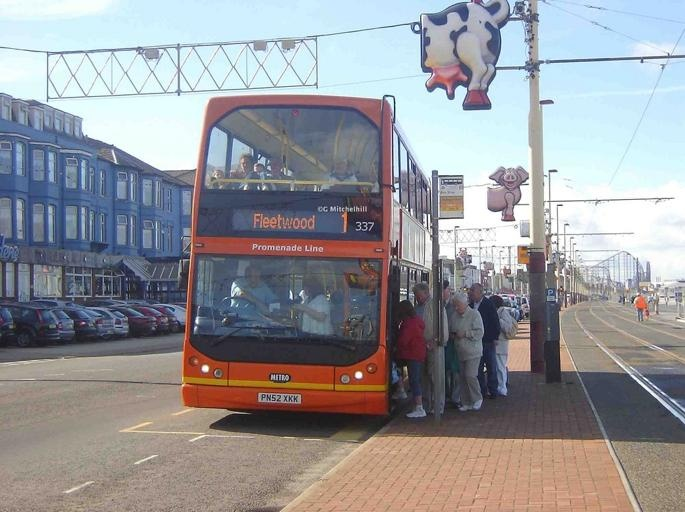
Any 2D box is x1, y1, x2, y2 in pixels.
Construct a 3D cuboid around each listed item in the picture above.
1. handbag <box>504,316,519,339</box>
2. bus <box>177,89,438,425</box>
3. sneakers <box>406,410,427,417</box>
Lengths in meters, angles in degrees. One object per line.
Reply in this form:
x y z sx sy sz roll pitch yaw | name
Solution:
3.626 1.662 14.689 0.282 0.687 0.621 3 -11 18 | handbag
-0.818 0.142 11.026 2.453 3.624 6.868 0 0 14 | bus
1.277 2.747 12.032 0.361 0.179 0.137 3 -5 -6 | sneakers
